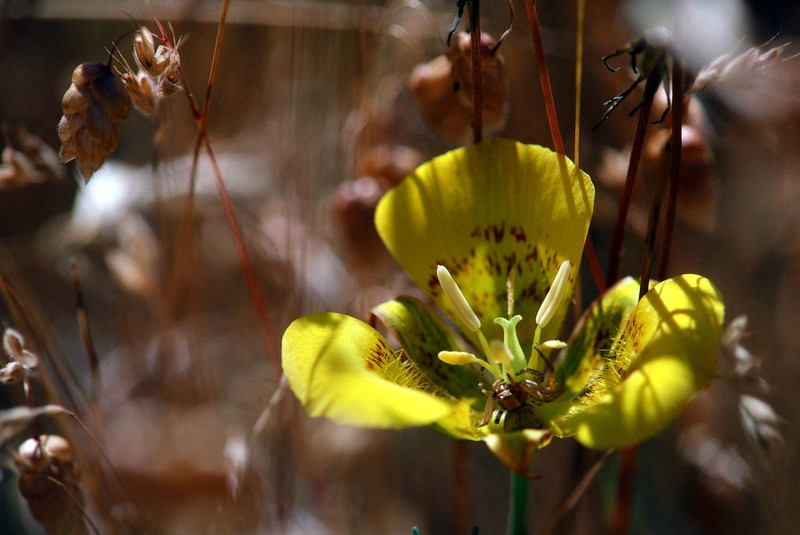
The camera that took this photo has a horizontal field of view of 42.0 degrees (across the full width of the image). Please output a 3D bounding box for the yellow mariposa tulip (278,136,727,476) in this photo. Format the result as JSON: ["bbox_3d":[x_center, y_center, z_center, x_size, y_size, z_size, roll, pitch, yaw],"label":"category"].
[{"bbox_3d":[0.111,0.095,1.556,0.507,0.304,0.750,0,29,39],"label":"yellow mariposa tulip"}]
